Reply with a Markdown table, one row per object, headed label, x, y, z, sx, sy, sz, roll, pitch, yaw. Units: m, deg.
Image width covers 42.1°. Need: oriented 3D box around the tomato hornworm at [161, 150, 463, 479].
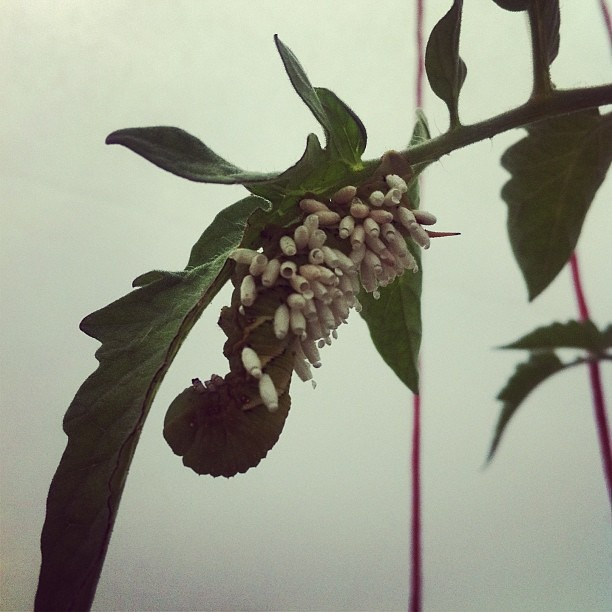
| label | x | y | z | sx | sy | sz | roll | pitch | yaw |
| --- | --- | --- | --- | --- | --- | --- | --- | --- | --- |
| tomato hornworm | 0.002 | 0.015 | 0.667 | 0.283 | 0.157 | 0.106 | -44 | -34 | -5 |
